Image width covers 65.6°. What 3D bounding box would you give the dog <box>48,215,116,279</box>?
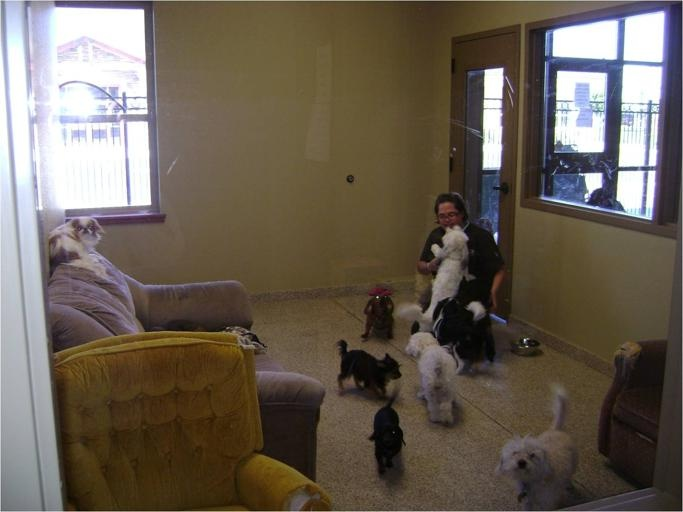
[{"bbox_3d":[-0.830,-0.026,1.669,0.207,0.207,0.127,8,9,-15],"label":"dog"}]

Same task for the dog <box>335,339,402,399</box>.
[{"bbox_3d":[0.080,0.384,1.755,0.250,0.164,0.073,10,18,35],"label":"dog"}]

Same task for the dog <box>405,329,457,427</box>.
[{"bbox_3d":[0.261,0.383,1.741,0.125,0.182,0.325,-2,34,-2],"label":"dog"}]

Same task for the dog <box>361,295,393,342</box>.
[{"bbox_3d":[0.129,0.199,1.799,0.105,0.169,0.168,2,6,2],"label":"dog"}]

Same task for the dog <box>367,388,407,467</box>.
[{"bbox_3d":[0.151,0.577,1.694,0.117,0.259,0.085,-6,13,-19],"label":"dog"}]

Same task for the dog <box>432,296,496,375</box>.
[{"bbox_3d":[0.402,0.251,1.772,0.122,0.246,0.323,-3,18,-15],"label":"dog"}]

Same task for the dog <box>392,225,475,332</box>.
[{"bbox_3d":[0.319,0.075,1.844,0.163,0.431,0.184,22,2,0],"label":"dog"}]

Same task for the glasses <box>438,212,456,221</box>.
[{"bbox_3d":[0.344,-0.128,1.756,0.032,0.011,0.033,-4,29,30],"label":"glasses"}]
